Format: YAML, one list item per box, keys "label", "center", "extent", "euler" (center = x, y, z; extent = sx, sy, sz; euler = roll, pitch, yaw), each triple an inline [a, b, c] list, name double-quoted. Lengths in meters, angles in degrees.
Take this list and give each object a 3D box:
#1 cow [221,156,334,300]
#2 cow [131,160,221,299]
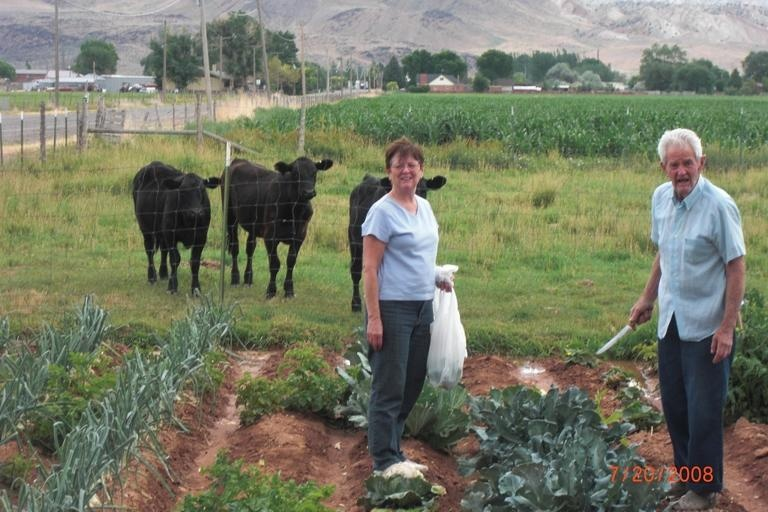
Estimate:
- label: "cow"
  center: [-2.769, -0.774, 28.532]
  extent: [2.613, 3.318, 1.216]
  euler: [7, 10, 39]
- label: "cow"
  center: [-5.090, -0.711, 28.451]
  extent: [2.171, 3.001, 1.086]
  euler: [8, 11, 44]
